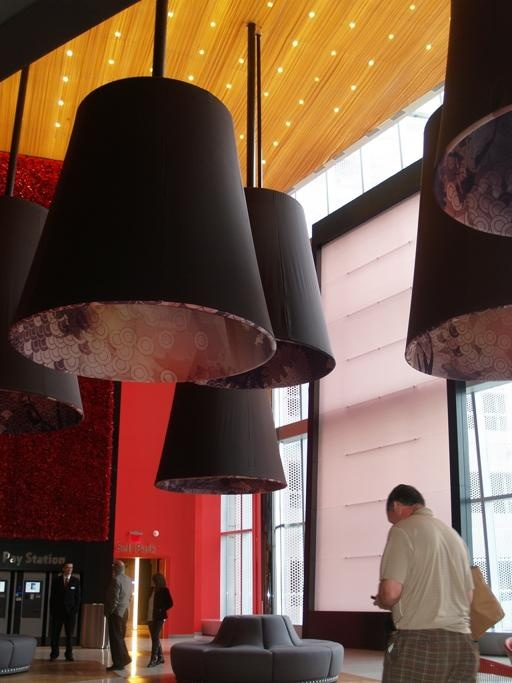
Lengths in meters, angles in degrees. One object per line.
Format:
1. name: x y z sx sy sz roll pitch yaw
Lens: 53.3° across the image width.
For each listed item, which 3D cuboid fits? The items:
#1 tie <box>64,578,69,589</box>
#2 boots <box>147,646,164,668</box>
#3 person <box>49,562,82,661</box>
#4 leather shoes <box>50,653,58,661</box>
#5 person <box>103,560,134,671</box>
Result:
1. tie: -3.413 4.332 9.216 0.056 0.129 0.027 7 -16 -12
2. boots: -1.593 4.985 8.041 0.132 0.339 0.383 -13 -25 21
3. person: -3.397 4.813 9.123 0.478 1.570 0.793 5 -16 -28
4. leather shoes: -3.499 5.467 8.910 0.095 0.131 0.106 -10 -25 23
5. person: -2.091 4.172 7.796 0.386 1.554 0.696 1 -14 -14
